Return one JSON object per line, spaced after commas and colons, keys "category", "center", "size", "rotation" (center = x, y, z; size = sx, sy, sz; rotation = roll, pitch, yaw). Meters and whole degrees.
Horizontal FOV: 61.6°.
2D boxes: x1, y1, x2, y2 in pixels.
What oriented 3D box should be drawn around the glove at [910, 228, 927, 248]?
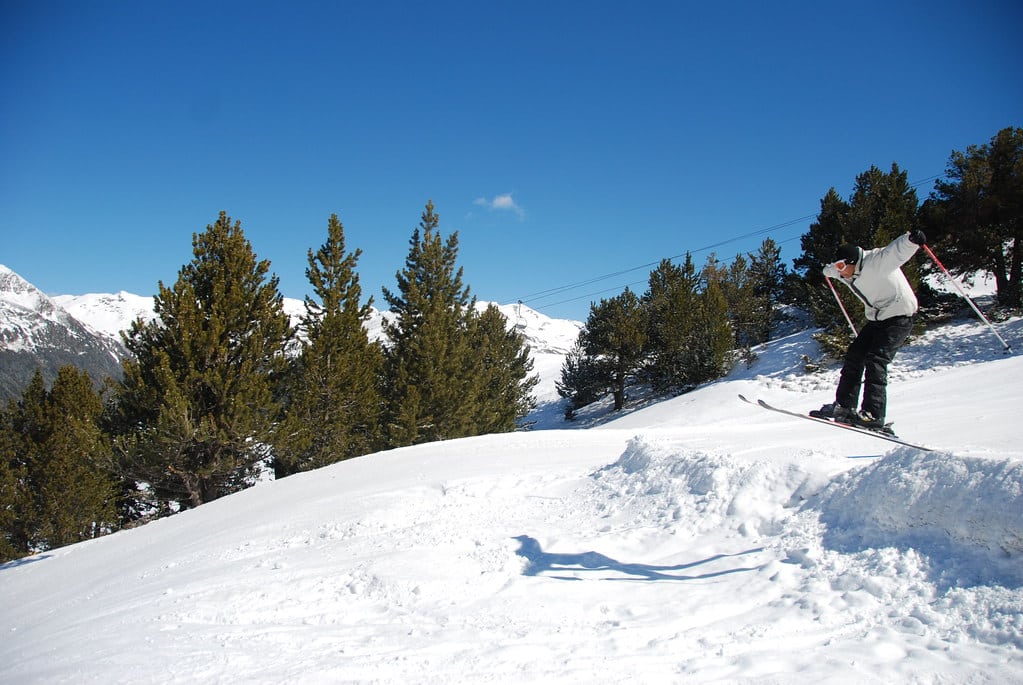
{"category": "glove", "center": [9.895, -2.545, 20.764], "size": [0.518, 0.427, 0.311], "rotation": [-5, -6, -42]}
